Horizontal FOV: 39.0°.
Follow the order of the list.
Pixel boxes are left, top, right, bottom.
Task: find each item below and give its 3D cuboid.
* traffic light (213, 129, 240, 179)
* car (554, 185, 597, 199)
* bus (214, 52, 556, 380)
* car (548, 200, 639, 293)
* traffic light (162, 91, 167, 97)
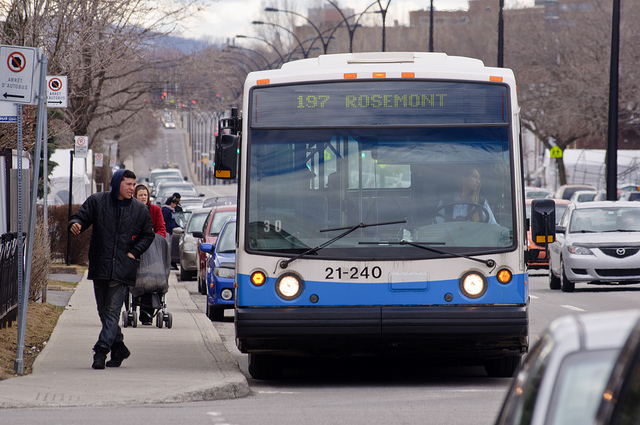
[{"bbox_3d":[-0.998,-0.586,9.901,0.310,0.521,0.259,1,-5,12],"label":"traffic light"},{"bbox_3d":[13.136,-1.116,47.413,1.074,1.008,2.018,-1,-5,-3],"label":"car"},{"bbox_3d":[0.594,-0.254,12.508,3.732,3.779,6.300,0,6,-1],"label":"bus"},{"bbox_3d":[6.008,0.727,20.268,1.325,1.186,2.516,-1,-7,-1],"label":"car"},{"bbox_3d":[-6.703,-5.093,39.031,0.208,0.210,0.565,-12,4,-11],"label":"traffic light"}]
